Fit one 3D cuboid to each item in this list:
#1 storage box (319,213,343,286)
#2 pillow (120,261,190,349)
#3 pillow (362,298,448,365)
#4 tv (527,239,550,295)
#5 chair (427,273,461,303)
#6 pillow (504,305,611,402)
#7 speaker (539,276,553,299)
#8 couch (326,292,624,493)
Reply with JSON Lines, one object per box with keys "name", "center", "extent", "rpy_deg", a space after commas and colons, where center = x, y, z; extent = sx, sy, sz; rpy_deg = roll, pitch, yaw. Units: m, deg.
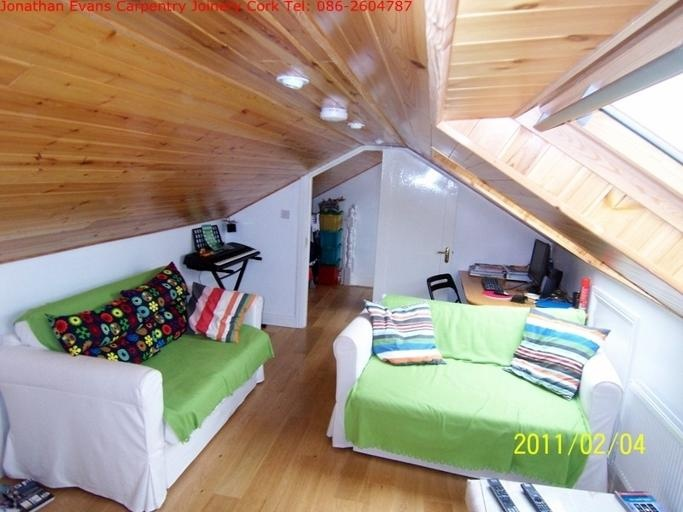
{"name": "storage box", "center": [-0.166, -0.109, 6.811], "extent": [0.365, 1.090, 0.266], "rpy_deg": [0, 9, -5]}
{"name": "pillow", "center": [-1.361, 0.374, 3.269], "extent": [0.182, 0.340, 0.557], "rpy_deg": [-21, 9, 19]}
{"name": "pillow", "center": [0.487, 0.510, 3.279], "extent": [0.452, 0.131, 0.426], "rpy_deg": [0, 52, -7]}
{"name": "tv", "center": [1.799, 0.110, 4.092], "extent": [0.151, 0.367, 0.505], "rpy_deg": [2, 8, 12]}
{"name": "chair", "center": [1.091, 0.336, 4.802], "extent": [0.184, 0.295, 0.211], "rpy_deg": [-18, 30, -9]}
{"name": "pillow", "center": [1.474, 0.659, 3.093], "extent": [0.164, 0.527, 0.542], "rpy_deg": [35, -6, -28]}
{"name": "speaker", "center": [1.733, 0.259, 3.805], "extent": [0.044, 0.153, 0.176], "rpy_deg": [9, 17, 6]}
{"name": "couch", "center": [0.849, 0.444, 2.913], "extent": [1.720, 0.809, 1.063], "rpy_deg": [4, 22, 12]}
